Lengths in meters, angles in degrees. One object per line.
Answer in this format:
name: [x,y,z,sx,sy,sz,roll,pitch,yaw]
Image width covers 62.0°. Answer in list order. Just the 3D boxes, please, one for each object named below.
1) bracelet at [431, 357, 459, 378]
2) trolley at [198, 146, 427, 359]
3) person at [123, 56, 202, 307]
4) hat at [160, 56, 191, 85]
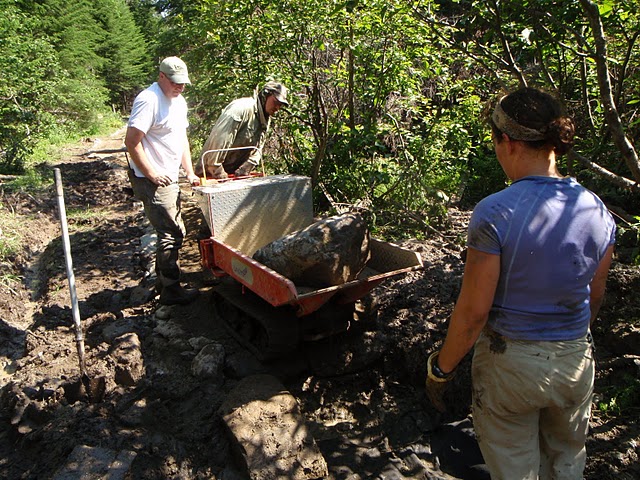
bracelet: [0.767,0.817,3.379,0.115,0.097,0.134,13,33,-19]
trolley: [-0.269,0.217,5.501,1.512,1.237,2.325,-15,27,-29]
person: [-1.689,-0.575,5.750,0.814,2.644,0.505,-6,16,-34]
hat: [-1.516,-1.759,5.518,0.286,0.286,0.422,-1,12,-15]
